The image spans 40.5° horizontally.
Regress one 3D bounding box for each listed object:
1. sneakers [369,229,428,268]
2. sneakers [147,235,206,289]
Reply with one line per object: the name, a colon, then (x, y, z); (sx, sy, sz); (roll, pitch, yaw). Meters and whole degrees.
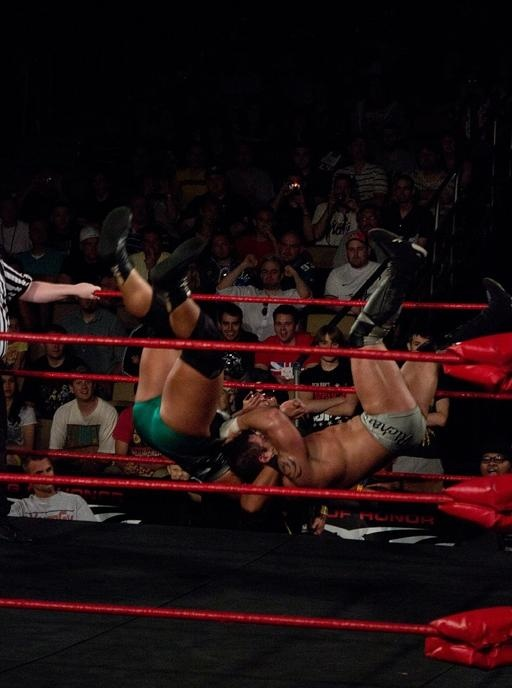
sneakers: (0.442, -0.309, 2.196); (0.162, 0.125, 0.138); (1, -3, 19)
sneakers: (-0.194, -0.205, 1.777); (0.184, 0.091, 0.060); (-39, 7, 36)
